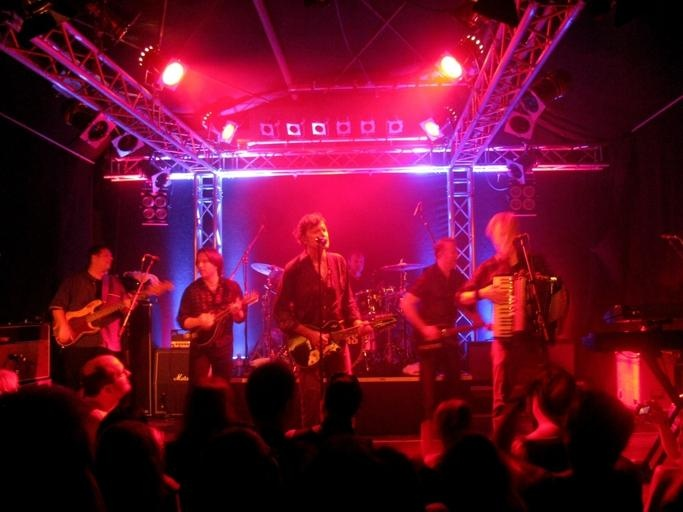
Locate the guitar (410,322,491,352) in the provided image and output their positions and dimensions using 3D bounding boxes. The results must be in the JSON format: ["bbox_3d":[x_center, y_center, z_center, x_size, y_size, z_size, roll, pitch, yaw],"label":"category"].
[{"bbox_3d":[1.528,1.155,8.693,1.119,0.469,0.170,-19,-60,25],"label":"guitar"}]

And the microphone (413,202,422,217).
[{"bbox_3d":[1.532,-0.901,12.111,0.061,0.281,0.169,19,18,27],"label":"microphone"}]

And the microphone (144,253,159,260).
[{"bbox_3d":[-3.361,0.021,10.787,0.099,0.092,0.377,33,5,9],"label":"microphone"}]

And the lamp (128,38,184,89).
[{"bbox_3d":[-2.746,-2.729,8.952,0.626,0.405,0.805,-3,-11,23],"label":"lamp"}]

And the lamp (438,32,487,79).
[{"bbox_3d":[1.787,-2.984,9.057,0.675,0.617,1.141,1,-10,5],"label":"lamp"}]

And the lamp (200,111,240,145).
[{"bbox_3d":[-2.157,-2.136,10.644,0.603,0.391,0.622,15,18,8],"label":"lamp"}]

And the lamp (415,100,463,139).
[{"bbox_3d":[1.759,-2.363,10.861,0.721,0.675,0.557,0,-10,7],"label":"lamp"}]
